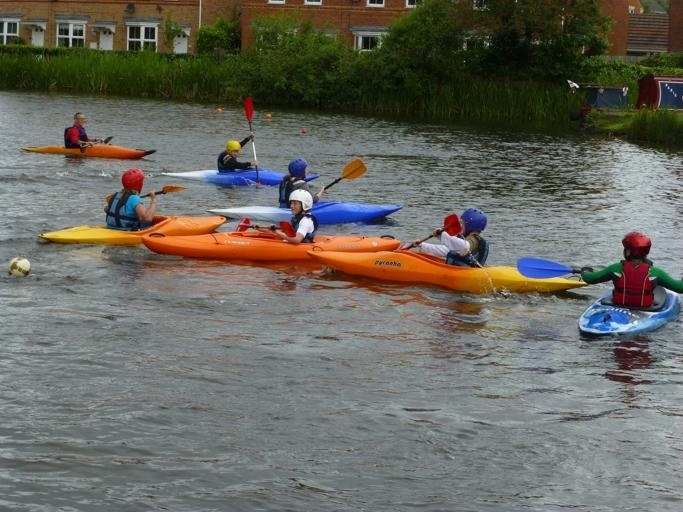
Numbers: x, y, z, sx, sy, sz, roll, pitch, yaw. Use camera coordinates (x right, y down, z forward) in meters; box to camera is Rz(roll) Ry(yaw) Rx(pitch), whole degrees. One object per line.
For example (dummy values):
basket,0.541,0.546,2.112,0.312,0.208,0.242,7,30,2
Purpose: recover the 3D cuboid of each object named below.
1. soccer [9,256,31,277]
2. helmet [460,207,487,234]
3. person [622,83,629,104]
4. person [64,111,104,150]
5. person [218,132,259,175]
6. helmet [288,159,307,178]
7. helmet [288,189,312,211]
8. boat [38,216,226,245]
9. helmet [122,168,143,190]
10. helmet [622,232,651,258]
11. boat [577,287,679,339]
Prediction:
soccer,-4.826,0.182,16.175,0.325,0.260,0.364,2,7,-14
helmet,2.034,-0.487,16.535,0.406,0.399,0.280,7,9,21
person,10.022,-5.547,37.532,0.331,0.762,0.273,0,-20,-1
person,-6.139,-2.871,25.403,0.701,0.852,0.747,2,8,-14
person,-2.228,-2.063,23.186,0.742,0.674,0.554,2,8,-10
helmet,-0.760,-1.504,19.058,0.298,0.318,0.367,3,7,-5
helmet,-0.640,-0.872,17.527,0.351,0.344,0.349,3,7,-4
boat,-3.354,-0.370,17.762,3.385,0.321,0.799,0,3,-22
helmet,-3.363,-1.186,17.390,0.301,0.344,0.534,3,6,-8
helmet,4.217,-0.127,15.213,0.459,0.331,0.359,-1,-24,3
boat,4.138,0.808,15.290,1.557,0.634,0.556,1,8,-14
